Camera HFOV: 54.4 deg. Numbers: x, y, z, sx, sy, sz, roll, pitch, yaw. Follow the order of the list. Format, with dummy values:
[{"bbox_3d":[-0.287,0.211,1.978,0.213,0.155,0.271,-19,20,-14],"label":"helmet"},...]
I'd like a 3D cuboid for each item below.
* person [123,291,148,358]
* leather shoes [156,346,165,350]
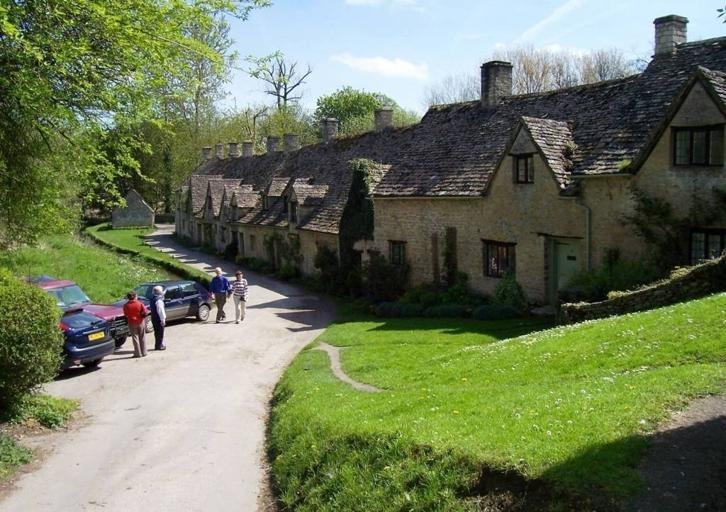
[{"bbox_3d":[-7.534,2.220,23.486,0.677,2.199,1.134,-8,8,-18],"label":"person"},{"bbox_3d":[-6.948,3.153,24.279,0.168,0.072,0.170,6,4,40],"label":"leather shoes"}]
